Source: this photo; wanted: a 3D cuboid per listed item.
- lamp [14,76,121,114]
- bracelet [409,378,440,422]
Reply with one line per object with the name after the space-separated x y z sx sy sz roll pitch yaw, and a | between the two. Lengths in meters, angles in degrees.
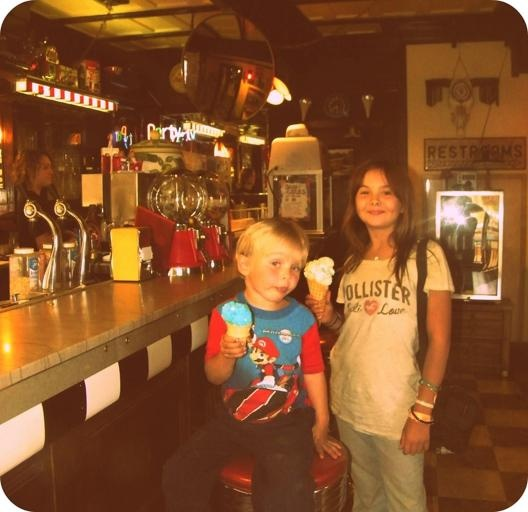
-1.922 -1.550 4.697 0.303 0.156 1.285 2 7 14 | lamp
0.545 0.505 1.665 0.041 0.146 0.096 17 -7 -25 | bracelet
